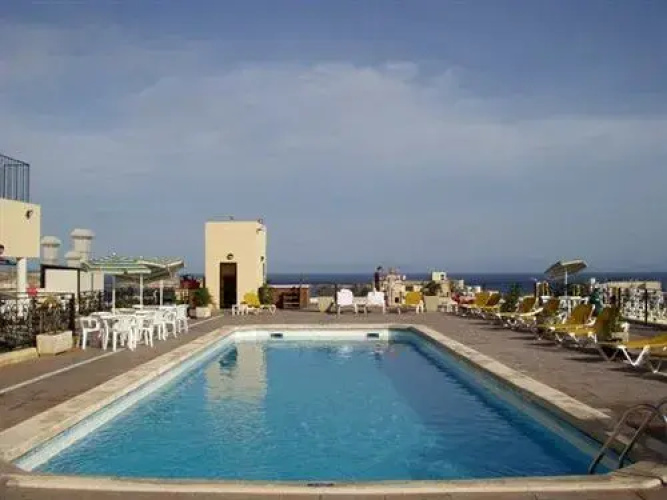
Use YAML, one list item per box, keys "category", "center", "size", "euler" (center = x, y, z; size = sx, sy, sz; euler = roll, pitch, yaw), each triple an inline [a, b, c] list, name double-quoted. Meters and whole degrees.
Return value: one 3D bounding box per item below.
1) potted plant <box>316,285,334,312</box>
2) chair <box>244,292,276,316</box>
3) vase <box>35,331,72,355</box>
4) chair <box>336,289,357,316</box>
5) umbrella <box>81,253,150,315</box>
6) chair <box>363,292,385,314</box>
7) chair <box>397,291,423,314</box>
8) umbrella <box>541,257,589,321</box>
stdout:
- category: "potted plant"
  center: [-0.346, 2.038, 21.195]
  size: [1.181, 1.027, 0.893]
  euler: [1, -6, -5]
- category: "chair"
  center: [-3.243, 2.249, 20.661]
  size: [0.865, 0.791, 1.369]
  euler: [1, -6, -23]
- category: "vase"
  center: [-6.022, 2.008, 10.750]
  size: [0.435, 0.434, 0.672]
  euler: [0, -2, 5]
- category: "chair"
  center: [0.425, 2.120, 20.683]
  size: [0.919, 0.995, 1.044]
  euler: [0, -7, -5]
- category: "umbrella"
  center: [-5.727, 0.941, 13.757]
  size: [1.834, 1.372, 1.734]
  euler: [0, -2, -1]
- category: "chair"
  center: [1.721, 2.196, 21.249]
  size: [0.821, 0.687, 1.024]
  euler: [0, -4, 5]
- category: "chair"
  center: [3.274, 2.175, 20.883]
  size: [0.835, 0.717, 1.254]
  euler: [-2, -4, 23]
- category: "umbrella"
  center: [8.861, 1.337, 18.189]
  size: [2.126, 1.807, 2.229]
  euler: [0, 8, 24]
